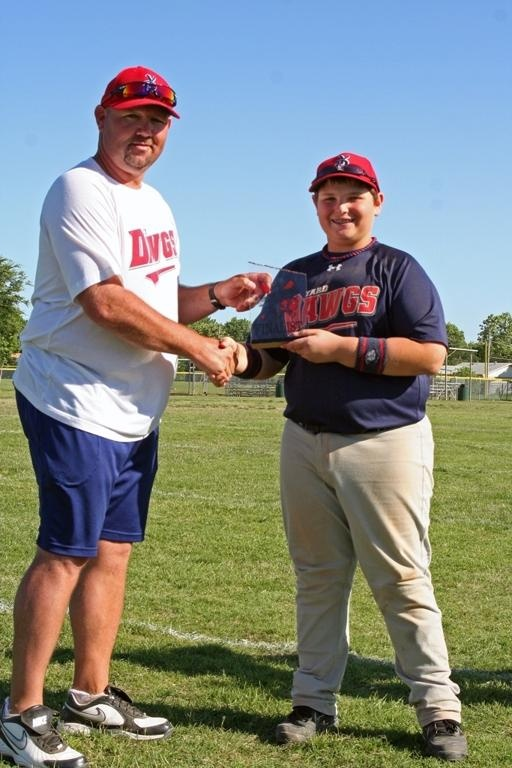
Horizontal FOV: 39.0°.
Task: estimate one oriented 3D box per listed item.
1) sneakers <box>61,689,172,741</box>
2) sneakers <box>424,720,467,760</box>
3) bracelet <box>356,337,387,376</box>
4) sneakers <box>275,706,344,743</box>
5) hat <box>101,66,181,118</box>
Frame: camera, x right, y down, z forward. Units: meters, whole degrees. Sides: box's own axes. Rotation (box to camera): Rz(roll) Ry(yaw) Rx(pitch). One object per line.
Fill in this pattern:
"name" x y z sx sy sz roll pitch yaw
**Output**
"sneakers" -0.501 1.178 2.644 0.453 0.183 0.157 4 -2 0
"sneakers" 0.658 1.241 2.534 0.151 0.107 0.189 2 -3 14
"bracelet" 0.418 -0.099 2.621 0.116 0.154 0.122 6 34 1
"sneakers" 0.192 1.240 2.650 0.092 0.102 0.261 -8 -15 32
"hat" -0.378 -1.012 2.552 0.211 0.142 0.272 5 -2 -14
